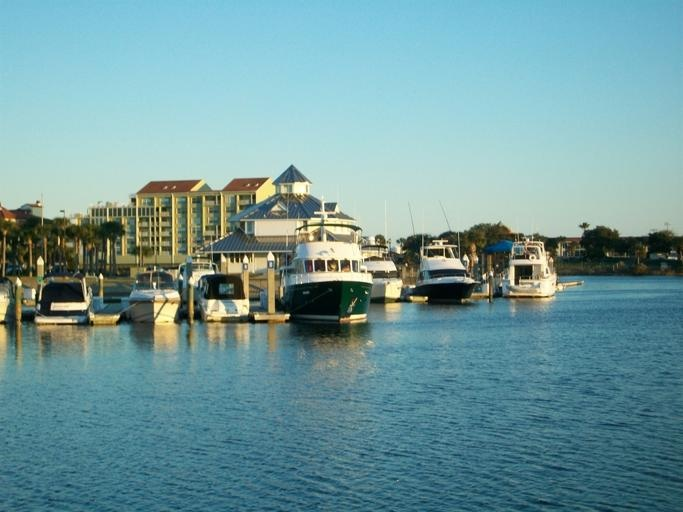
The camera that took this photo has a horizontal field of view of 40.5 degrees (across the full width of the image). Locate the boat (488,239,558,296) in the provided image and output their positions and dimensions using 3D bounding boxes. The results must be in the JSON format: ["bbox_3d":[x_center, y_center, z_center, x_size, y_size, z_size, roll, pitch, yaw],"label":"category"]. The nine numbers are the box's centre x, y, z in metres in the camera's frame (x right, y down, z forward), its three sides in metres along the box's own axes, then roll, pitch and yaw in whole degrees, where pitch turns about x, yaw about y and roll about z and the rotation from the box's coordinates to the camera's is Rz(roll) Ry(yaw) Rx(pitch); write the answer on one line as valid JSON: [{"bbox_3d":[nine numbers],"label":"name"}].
[{"bbox_3d":[16.525,1.242,80.671,3.340,5.145,4.515,5,9,37],"label":"boat"}]

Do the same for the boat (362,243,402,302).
[{"bbox_3d":[3.737,1.559,75.132,2.882,5.497,3.403,-3,3,-16],"label":"boat"}]

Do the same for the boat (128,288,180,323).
[{"bbox_3d":[-10.777,2.382,54.132,3.243,2.231,6.984,0,6,-10],"label":"boat"}]

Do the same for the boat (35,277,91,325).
[{"bbox_3d":[-14.931,2.343,49.891,2.645,2.749,1.083,-1,8,-8],"label":"boat"}]

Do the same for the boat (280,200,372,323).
[{"bbox_3d":[-0.889,0.356,53.318,4.722,6.459,8.618,-1,8,-3],"label":"boat"}]

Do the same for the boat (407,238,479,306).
[{"bbox_3d":[8.198,1.470,73.506,4.732,5.204,6.912,0,5,9],"label":"boat"}]
